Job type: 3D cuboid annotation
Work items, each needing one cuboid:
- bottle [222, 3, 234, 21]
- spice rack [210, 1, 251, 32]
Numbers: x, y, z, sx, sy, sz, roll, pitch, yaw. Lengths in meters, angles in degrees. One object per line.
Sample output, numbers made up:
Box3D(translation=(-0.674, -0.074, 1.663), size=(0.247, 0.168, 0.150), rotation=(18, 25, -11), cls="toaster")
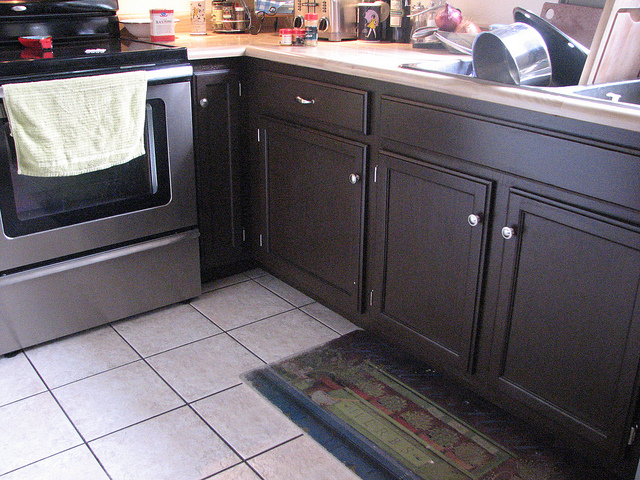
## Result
Box3D(translation=(-0.470, -1.171, 2.511), size=(0.063, 0.081, 0.031), rotation=(-6, 30, -11), cls="bottle")
Box3D(translation=(-0.474, -1.188, 2.601), size=(0.210, 0.173, 0.181), rotation=(2, 32, -13), cls="spice rack")
